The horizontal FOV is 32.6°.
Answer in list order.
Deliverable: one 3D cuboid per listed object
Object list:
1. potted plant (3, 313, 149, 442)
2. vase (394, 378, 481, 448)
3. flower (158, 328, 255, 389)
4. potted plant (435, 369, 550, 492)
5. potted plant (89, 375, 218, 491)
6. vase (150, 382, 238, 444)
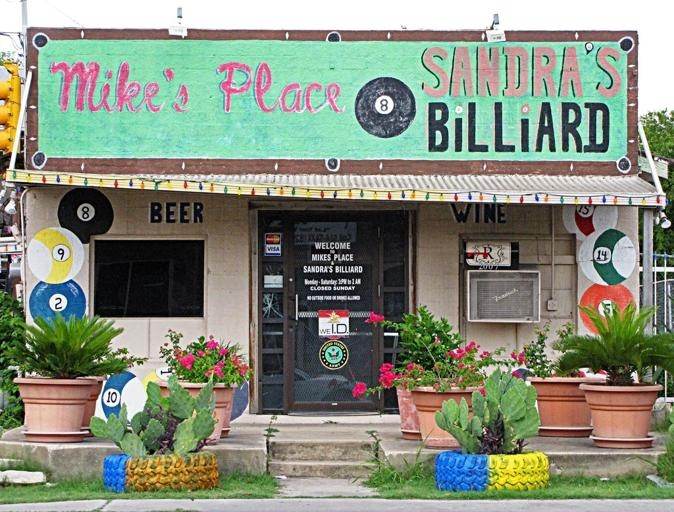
[{"bbox_3d":[-3.568,1.743,16.017,1.569,1.655,1.640,1,-10,1],"label":"potted plant"},{"bbox_3d":[1.372,2.106,15.166,0.756,0.594,0.776,2,-9,-6],"label":"vase"},{"bbox_3d":[-1.750,1.453,15.949,1.009,0.540,0.945,4,1,4],"label":"flower"},{"bbox_3d":[1.911,2.190,14.288,1.396,1.413,0.469,0,-6,6],"label":"potted plant"},{"bbox_3d":[-2.210,2.300,14.273,1.279,1.540,1.219,1,-2,0],"label":"potted plant"},{"bbox_3d":[-1.767,2.036,15.524,0.882,0.695,0.907,1,-5,-2],"label":"vase"}]
